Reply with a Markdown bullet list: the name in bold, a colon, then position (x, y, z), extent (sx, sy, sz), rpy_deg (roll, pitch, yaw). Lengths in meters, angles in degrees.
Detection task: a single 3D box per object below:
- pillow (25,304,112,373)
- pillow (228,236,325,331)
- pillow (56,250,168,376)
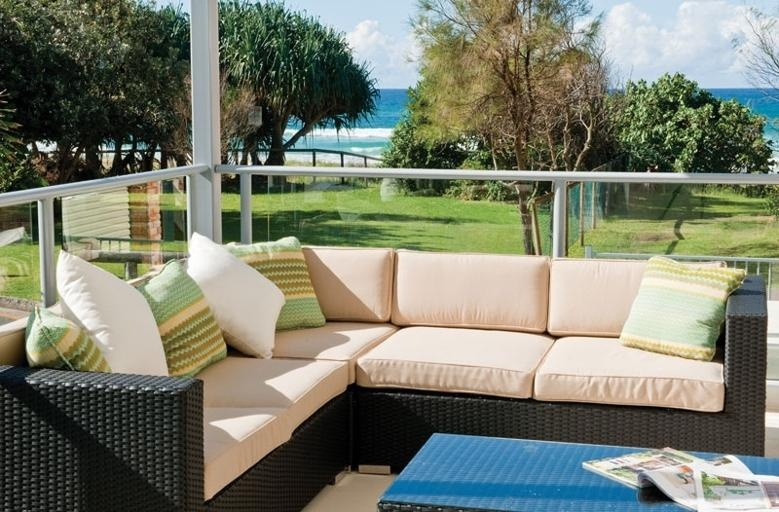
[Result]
- **pillow**: position (-1.188, 0.317, 2.604), extent (0.127, 0.237, 0.188), rpy_deg (-34, 10, -2)
- **pillow**: position (-0.665, 0.215, 3.907), extent (0.155, 0.487, 0.515), rpy_deg (-32, -11, 35)
- **pillow**: position (-1.129, 0.244, 2.834), extent (0.166, 0.381, 0.428), rpy_deg (-39, 37, 3)
